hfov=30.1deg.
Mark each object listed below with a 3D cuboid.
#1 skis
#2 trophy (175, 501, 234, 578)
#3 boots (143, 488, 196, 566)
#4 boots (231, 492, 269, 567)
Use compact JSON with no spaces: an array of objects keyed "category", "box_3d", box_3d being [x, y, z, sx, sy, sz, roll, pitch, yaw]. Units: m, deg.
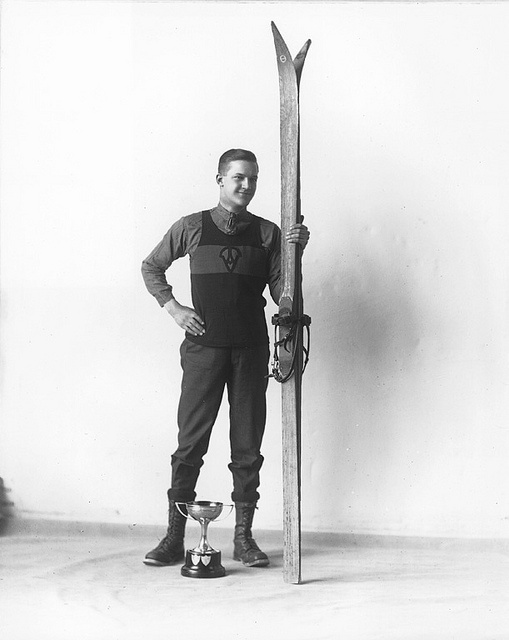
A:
[{"category":"skis","box_3d":[0.129,0.004,3.503,0.176,2.112,0.162,-1,13,-1]},{"category":"trophy","box_3d":[-0.190,0.845,3.645,0.202,0.290,0.178,-1,-6,18]},{"category":"boots","box_3d":[-0.343,0.813,3.768,0.096,0.290,0.240,-2,-5,32]},{"category":"boots","box_3d":[0.013,0.865,3.769,0.095,0.303,0.261,4,-8,-24]}]
